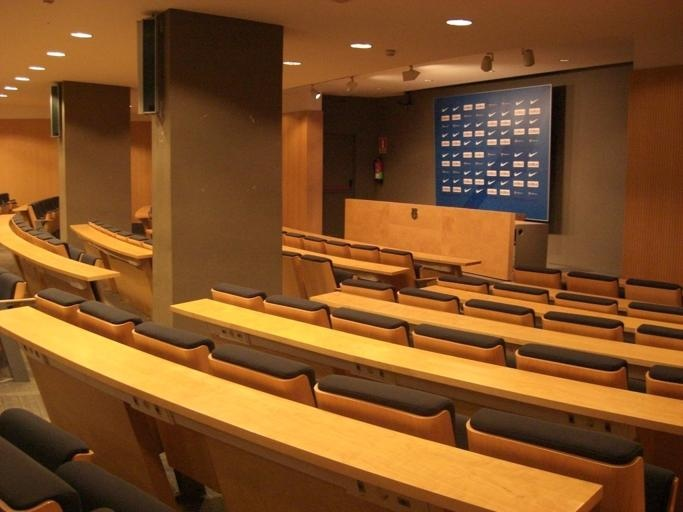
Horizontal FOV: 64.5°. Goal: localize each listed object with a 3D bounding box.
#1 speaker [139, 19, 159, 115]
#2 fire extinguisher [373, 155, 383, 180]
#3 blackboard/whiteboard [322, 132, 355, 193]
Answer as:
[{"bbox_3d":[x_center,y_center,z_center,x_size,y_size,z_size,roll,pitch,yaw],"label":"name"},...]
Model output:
[{"bbox_3d":[-1.830,-1.764,5.036,0.320,0.862,0.101,10,10,38],"label":"speaker"},{"bbox_3d":[1.074,-2.500,15.565,0.298,0.720,0.195,4,8,1],"label":"fire extinguisher"},{"bbox_3d":[-0.060,-2.583,15.405,1.035,1.703,0.255,-1,9,-33],"label":"blackboard/whiteboard"}]
